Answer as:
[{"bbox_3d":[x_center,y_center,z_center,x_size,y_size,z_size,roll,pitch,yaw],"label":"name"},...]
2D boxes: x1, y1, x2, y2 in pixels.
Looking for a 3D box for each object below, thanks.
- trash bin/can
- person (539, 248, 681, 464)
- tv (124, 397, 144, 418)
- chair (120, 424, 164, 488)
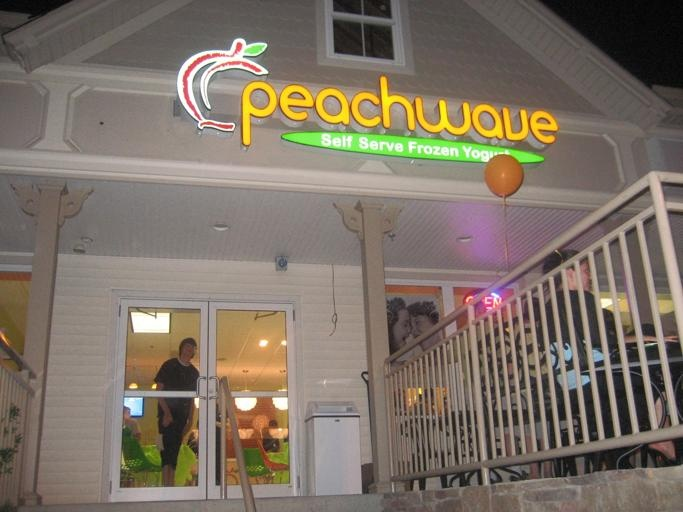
[{"bbox_3d":[-0.105,2.410,8.392,0.670,1.152,0.636,1,-19,-2],"label":"trash bin/can"},{"bbox_3d":[1.955,0.655,4.838,0.796,1.701,1.503,-6,-20,18],"label":"person"},{"bbox_3d":[-2.811,2.037,8.845,0.244,0.261,0.025,3,-18,-20],"label":"tv"},{"bbox_3d":[-2.659,2.676,8.604,0.570,0.739,0.527,-2,-11,6],"label":"chair"}]
